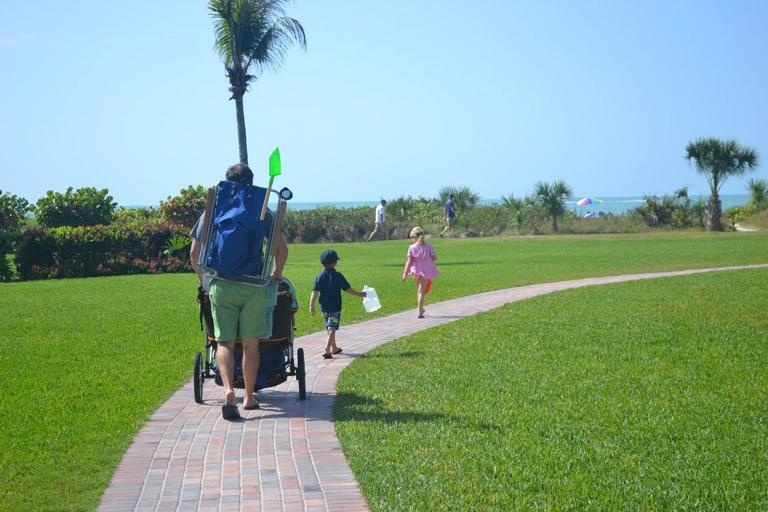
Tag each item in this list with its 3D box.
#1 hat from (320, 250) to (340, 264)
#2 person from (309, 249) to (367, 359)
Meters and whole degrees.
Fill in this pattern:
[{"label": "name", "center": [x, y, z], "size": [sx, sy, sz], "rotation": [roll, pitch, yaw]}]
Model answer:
[{"label": "hat", "center": [-0.892, 0.012, 10.623], "size": [0.193, 0.192, 0.296], "rotation": [0, 25, 9]}, {"label": "person", "center": [-0.858, 0.700, 11.190], "size": [0.782, 1.768, 1.497], "rotation": [-1, 9, -5]}]
